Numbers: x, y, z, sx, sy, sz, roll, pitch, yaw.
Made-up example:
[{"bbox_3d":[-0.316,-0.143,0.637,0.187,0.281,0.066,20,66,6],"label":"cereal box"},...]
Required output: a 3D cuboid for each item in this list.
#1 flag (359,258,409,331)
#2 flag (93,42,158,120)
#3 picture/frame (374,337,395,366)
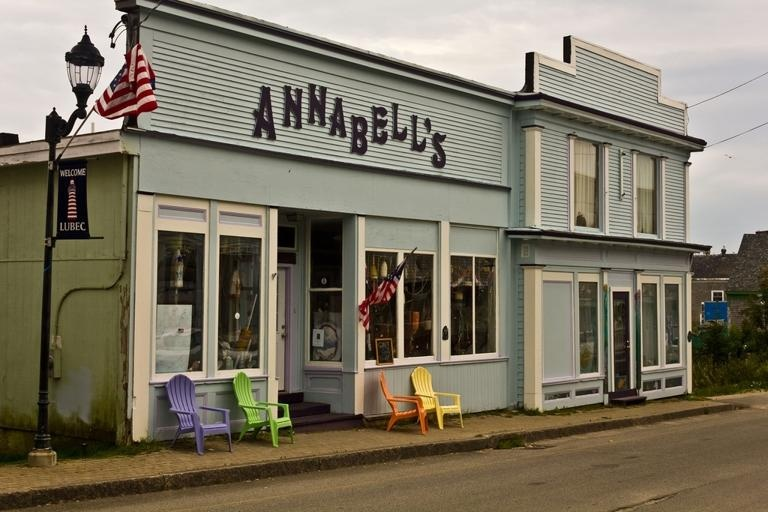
[{"bbox_3d":[0.045,0.911,21.514,0.658,1.567,1.334,6,8,35],"label":"flag"},{"bbox_3d":[-4.820,-3.426,17.822,1.078,1.602,0.983,-11,-20,27],"label":"flag"},{"bbox_3d":[0.013,2.218,21.686,0.538,0.587,0.159,-4,9,-42],"label":"picture/frame"}]
